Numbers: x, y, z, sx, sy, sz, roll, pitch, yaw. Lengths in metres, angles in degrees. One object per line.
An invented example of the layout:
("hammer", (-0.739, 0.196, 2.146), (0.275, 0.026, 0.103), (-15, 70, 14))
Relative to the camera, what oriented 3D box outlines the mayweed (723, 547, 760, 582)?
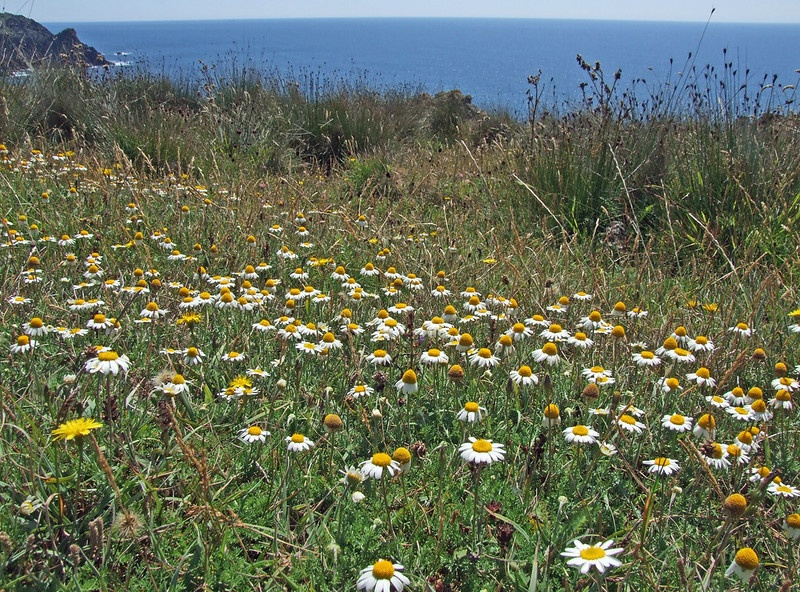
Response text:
("mayweed", (1.614, 1.253, 3.533), (0.119, 0.186, 0.082), (27, 41, -3))
